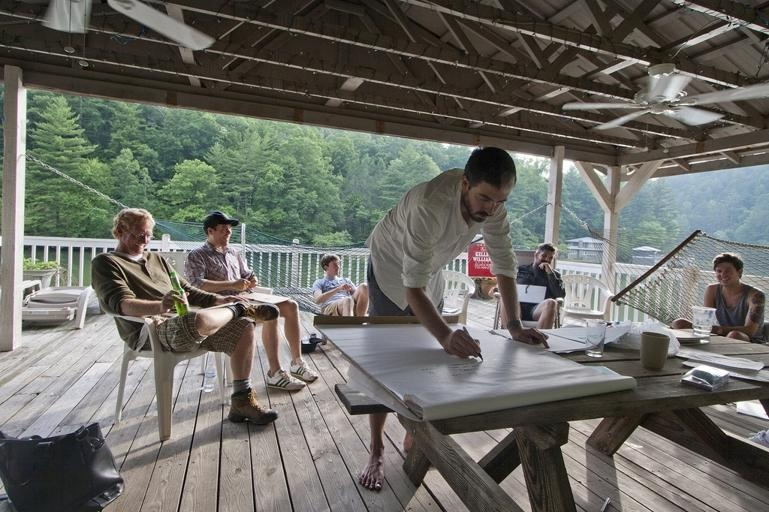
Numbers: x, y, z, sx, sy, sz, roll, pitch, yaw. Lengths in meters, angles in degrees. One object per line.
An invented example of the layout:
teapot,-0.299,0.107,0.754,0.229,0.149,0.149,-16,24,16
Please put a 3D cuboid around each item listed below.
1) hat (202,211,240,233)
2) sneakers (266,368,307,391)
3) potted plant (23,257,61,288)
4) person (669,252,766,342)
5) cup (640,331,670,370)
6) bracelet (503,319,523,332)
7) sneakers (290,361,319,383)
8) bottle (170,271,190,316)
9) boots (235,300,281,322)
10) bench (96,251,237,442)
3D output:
hat,-1.423,-0.303,4.036,0.289,0.157,0.193,-18,8,-12
sneakers,-0.786,0.988,3.744,0.356,0.152,0.131,2,3,3
potted plant,-4.506,0.222,6.151,0.523,0.307,0.390,3,-1,-13
person,2.753,0.342,3.857,0.657,0.863,0.529,19,-18,-25
cup,1.281,0.451,2.218,0.164,0.170,0.159,0,-3,0
bracelet,0.701,0.377,2.524,0.038,0.044,0.109,-1,-12,-8
sneakers,-0.669,0.961,3.933,0.300,0.130,0.109,15,3,17
bottle,-1.379,0.251,3.143,0.083,0.305,0.478,-5,14,-25
boots,-0.903,0.412,3.429,0.186,0.075,0.185,5,0,-44
bench,-1.608,0.525,3.390,1.079,1.105,0.861,11,16,33
